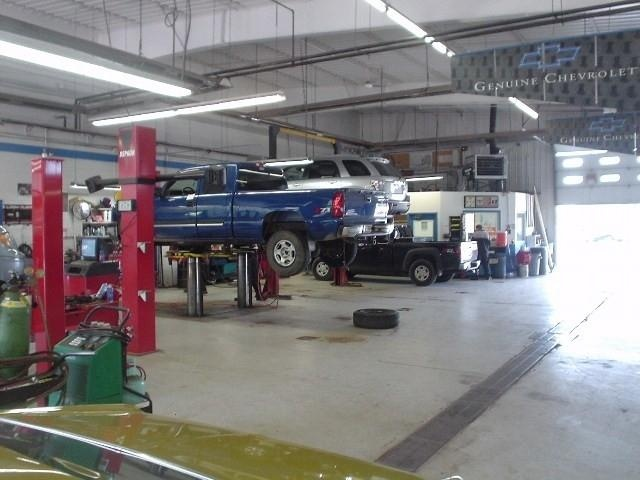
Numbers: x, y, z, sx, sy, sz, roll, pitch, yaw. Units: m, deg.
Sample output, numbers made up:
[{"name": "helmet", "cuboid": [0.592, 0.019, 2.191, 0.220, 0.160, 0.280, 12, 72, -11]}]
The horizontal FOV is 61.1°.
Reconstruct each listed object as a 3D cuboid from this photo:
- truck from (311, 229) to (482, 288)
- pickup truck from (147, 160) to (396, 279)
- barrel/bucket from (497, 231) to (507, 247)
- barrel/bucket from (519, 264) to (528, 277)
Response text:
[{"name": "truck", "cuboid": [1.952, 0.504, 14.950, 4.025, 1.442, 1.823, 2, 0, 21]}, {"name": "pickup truck", "cuboid": [-1.097, -0.535, 9.635, 4.217, 1.454, 1.972, 5, 3, 25]}, {"name": "barrel/bucket", "cuboid": [5.966, -0.019, 17.844, 0.326, 0.509, 0.670, 1, 4, 18]}, {"name": "barrel/bucket", "cuboid": [6.824, 1.017, 18.048, 0.381, 0.410, 0.377, 0, 6, 0]}]
